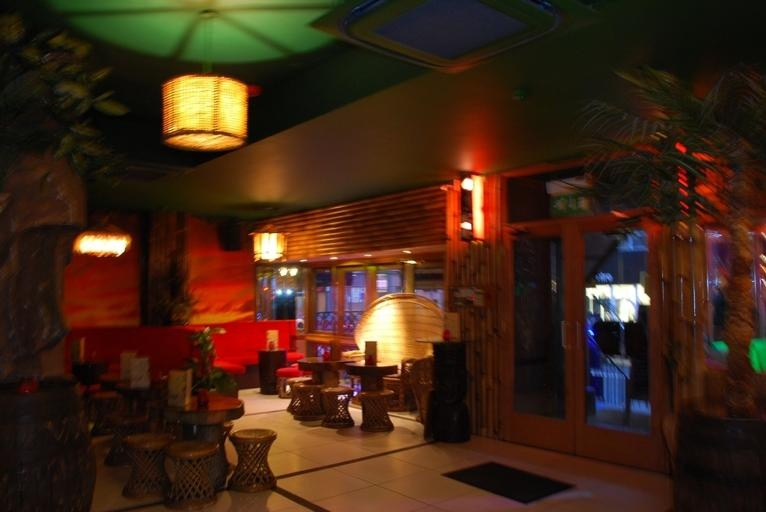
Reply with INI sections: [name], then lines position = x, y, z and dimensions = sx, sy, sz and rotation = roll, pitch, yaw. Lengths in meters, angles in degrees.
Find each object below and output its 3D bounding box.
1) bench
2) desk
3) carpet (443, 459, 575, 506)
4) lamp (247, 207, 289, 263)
[bench]
position = 0.170, 1.326, 10.168
dimensions = 1.531, 1.486, 0.385
rotation = -28, -21, 36
[desk]
position = 0.920, 1.805, 8.411
dimensions = 0.620, 1.202, 0.547
rotation = 0, -5, 19
[carpet]
position = 1.329, 2.401, 6.737
dimensions = 1.170, 0.139, 0.800
rotation = 11, 12, 44
[lamp]
position = -2.245, -0.316, 12.164
dimensions = 0.703, 0.761, 0.803
rotation = -2, -3, 22
